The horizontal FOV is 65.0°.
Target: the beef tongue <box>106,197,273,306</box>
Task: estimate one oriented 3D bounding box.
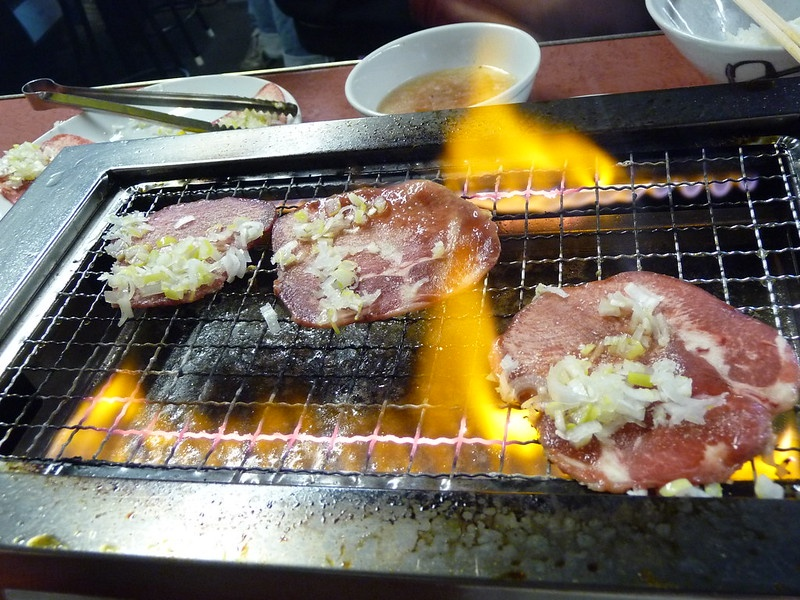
[{"bbox_3d":[-0.781,-0.138,2.353,0.489,0.107,0.509,6,43,8],"label":"beef tongue"}]

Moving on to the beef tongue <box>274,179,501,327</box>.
[{"bbox_3d":[-0.031,-0.160,2.177,0.604,0.263,0.610,-11,28,-21],"label":"beef tongue"}]

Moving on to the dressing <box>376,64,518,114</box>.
[{"bbox_3d":[0.209,-0.920,2.747,0.602,0.168,0.491,-10,28,-19],"label":"dressing"}]
